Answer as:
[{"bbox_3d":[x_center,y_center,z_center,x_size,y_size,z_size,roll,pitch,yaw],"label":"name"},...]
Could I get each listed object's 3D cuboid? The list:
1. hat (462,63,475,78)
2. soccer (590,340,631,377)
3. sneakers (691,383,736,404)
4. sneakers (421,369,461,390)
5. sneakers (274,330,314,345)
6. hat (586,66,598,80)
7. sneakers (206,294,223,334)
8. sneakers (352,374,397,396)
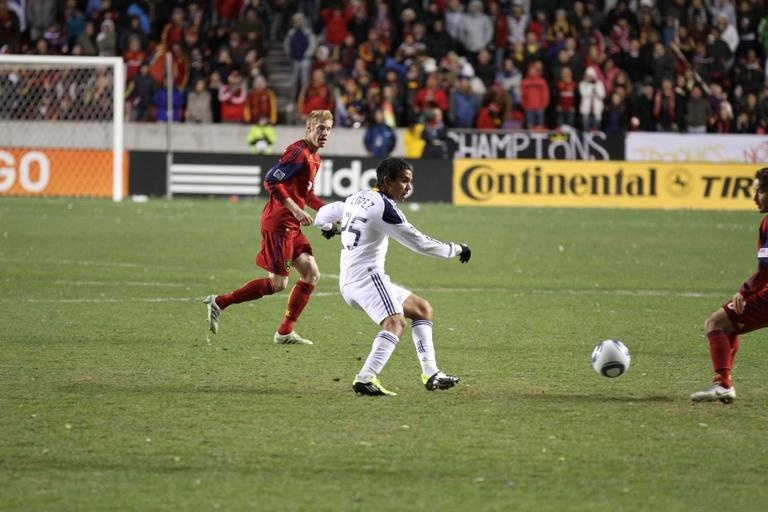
[{"bbox_3d":[1.793,-3.886,29.043,0.190,0.276,0.419,8,16,26],"label":"hat"},{"bbox_3d":[2.702,1.194,16.653,0.441,0.445,0.447,-11,-37,5],"label":"soccer"},{"bbox_3d":[3.914,1.634,16.519,0.545,0.233,0.210,3,-6,5],"label":"sneakers"},{"bbox_3d":[0.662,1.485,16.549,0.491,0.261,0.180,-11,-19,18],"label":"sneakers"},{"bbox_3d":[-1.151,1.060,18.077,0.569,0.199,0.184,1,0,-9],"label":"sneakers"},{"bbox_3d":[4.243,-3.734,28.327,0.238,0.254,0.281,7,16,22],"label":"hat"},{"bbox_3d":[-2.213,0.744,17.923,0.283,0.529,0.188,-4,5,5],"label":"sneakers"},{"bbox_3d":[-0.155,1.545,16.574,0.632,0.259,0.204,1,1,-9],"label":"sneakers"}]
